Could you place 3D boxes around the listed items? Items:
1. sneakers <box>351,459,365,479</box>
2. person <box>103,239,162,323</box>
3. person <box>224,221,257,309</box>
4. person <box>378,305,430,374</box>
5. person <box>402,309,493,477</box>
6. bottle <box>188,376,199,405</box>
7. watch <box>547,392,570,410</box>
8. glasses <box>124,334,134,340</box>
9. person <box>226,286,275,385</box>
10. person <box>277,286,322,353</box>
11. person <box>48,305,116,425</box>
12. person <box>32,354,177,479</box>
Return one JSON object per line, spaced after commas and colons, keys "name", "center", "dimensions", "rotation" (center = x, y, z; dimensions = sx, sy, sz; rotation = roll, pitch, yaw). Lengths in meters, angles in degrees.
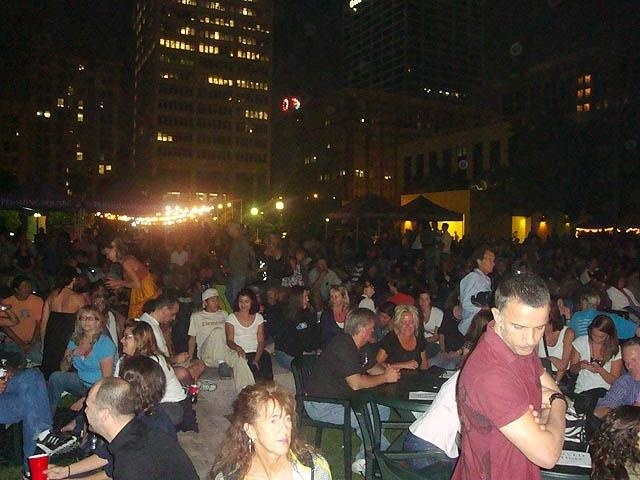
{"name": "sneakers", "center": [0.461, 2.699, 7.380], "dimensions": [0.160, 0.186, 0.230], "rotation": [11, -19, -43]}
{"name": "person", "center": [-3.424, 0.775, 11.425], "dimensions": [0.896, 2.045, 0.739], "rotation": [2, 25, -13]}
{"name": "person", "center": [-1.834, 0.624, 13.324], "dimensions": [0.552, 1.908, 0.600], "rotation": [2, 9, -41]}
{"name": "person", "center": [1.137, 1.380, 8.632], "dimensions": [0.723, 0.868, 0.450], "rotation": [-1, 5, -7]}
{"name": "person", "center": [1.336, 1.655, 6.710], "dimensions": [0.849, 2.116, 0.650], "rotation": [-4, 31, 0]}
{"name": "bottle", "center": [-1.679, 2.019, 8.397], "dimensions": [0.141, 0.211, 0.438], "rotation": [1, 12, -5]}
{"name": "watch", "center": [2.036, 1.377, 5.360], "dimensions": [0.114, 0.096, 0.103], "rotation": [30, -27, -24]}
{"name": "glasses", "center": [-2.237, 1.144, 7.368], "dimensions": [0.089, 0.060, 0.022], "rotation": [0, -4, 20]}
{"name": "person", "center": [-1.054, 1.443, 9.519], "dimensions": [0.745, 1.367, 0.720], "rotation": [3, -4, -17]}
{"name": "person", "center": [-0.454, 1.367, 10.434], "dimensions": [0.729, 1.229, 0.739], "rotation": [7, 15, -1]}
{"name": "person", "center": [-3.025, 1.691, 7.866], "dimensions": [0.736, 1.645, 0.919], "rotation": [7, 6, 25]}
{"name": "person", "center": [-2.232, 1.863, 6.729], "dimensions": [1.247, 1.329, 1.184], "rotation": [6, -43, -15]}
